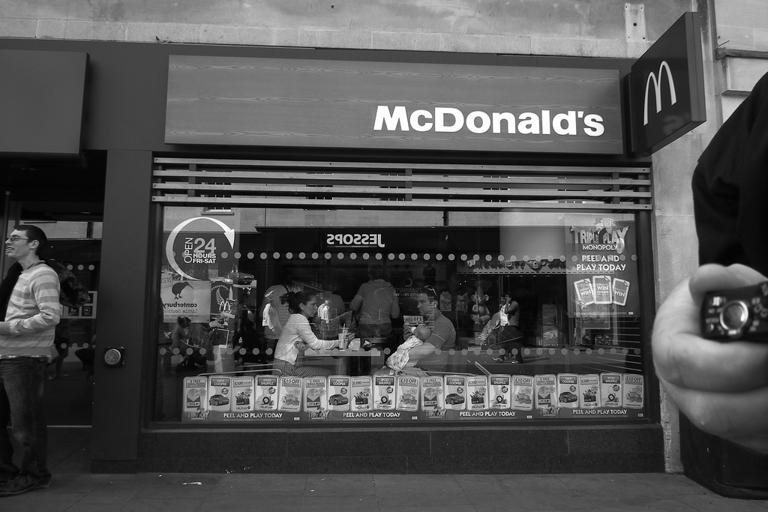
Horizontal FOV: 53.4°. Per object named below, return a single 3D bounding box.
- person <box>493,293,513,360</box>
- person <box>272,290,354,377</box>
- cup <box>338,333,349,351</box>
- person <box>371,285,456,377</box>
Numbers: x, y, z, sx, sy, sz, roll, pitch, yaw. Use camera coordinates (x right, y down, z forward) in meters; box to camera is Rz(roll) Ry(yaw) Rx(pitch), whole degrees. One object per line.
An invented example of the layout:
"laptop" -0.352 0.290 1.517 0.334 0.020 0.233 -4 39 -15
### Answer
"person" 1.437 0.854 9.252 0.204 0.781 0.148 2 12 8
"person" -0.909 0.929 9.461 0.970 1.577 0.677 -2 5 -17
"cup" -0.491 1.050 9.232 0.176 0.259 0.180 0 -4 0
"person" 0.521 1.086 9.444 0.760 1.308 0.621 -22 23 -33
